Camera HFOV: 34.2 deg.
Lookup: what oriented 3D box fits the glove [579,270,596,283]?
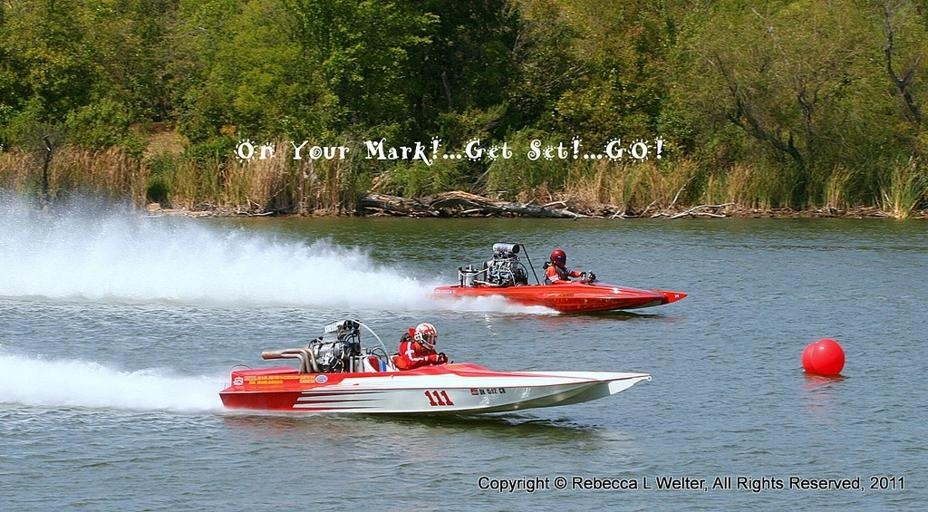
[{"bbox_3d":[6.689,1.078,81.312,0.598,0.433,0.908,4,9,6],"label":"glove"}]

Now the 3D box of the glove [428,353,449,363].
[{"bbox_3d":[-1.308,4.789,71.375,0.752,0.338,0.871,2,-5,5],"label":"glove"}]

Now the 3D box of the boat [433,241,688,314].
[{"bbox_3d":[4.507,1.160,81.255,11.293,3.648,0.927,1,-1,9],"label":"boat"}]
